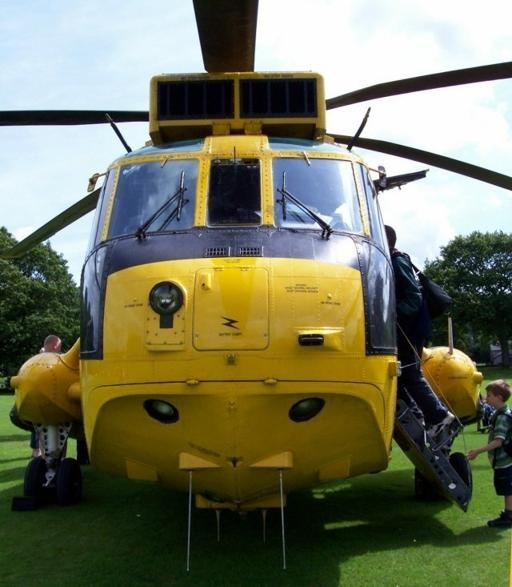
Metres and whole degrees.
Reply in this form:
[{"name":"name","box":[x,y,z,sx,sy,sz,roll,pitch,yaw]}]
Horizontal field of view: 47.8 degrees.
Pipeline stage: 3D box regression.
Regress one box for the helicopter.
[{"name":"helicopter","box":[-0.508,-0.061,6.238,4.918,2.479,5.184,-1,-1,3]}]
